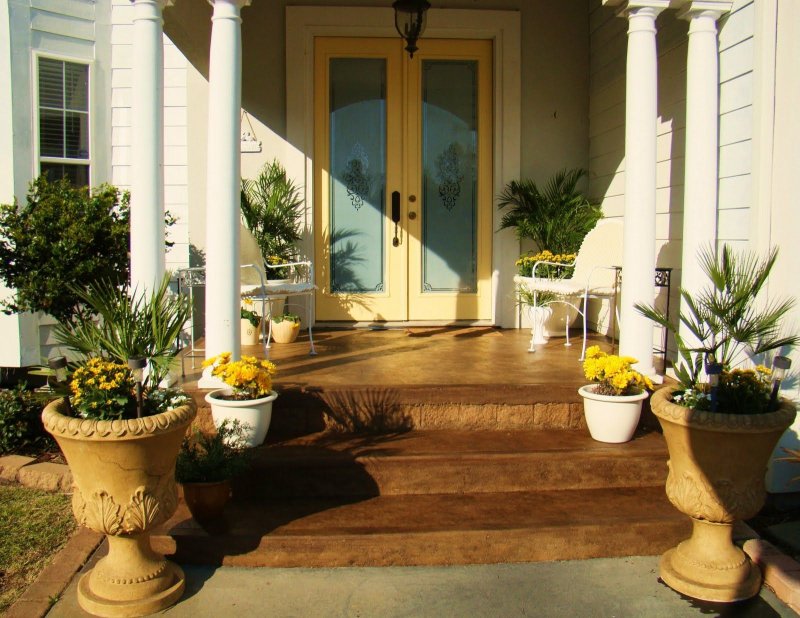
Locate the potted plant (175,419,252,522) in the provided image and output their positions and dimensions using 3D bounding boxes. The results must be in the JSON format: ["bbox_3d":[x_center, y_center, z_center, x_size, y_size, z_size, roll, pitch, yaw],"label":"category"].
[{"bbox_3d":[-0.966,0.833,3.270,0.473,0.615,0.434,1,-4,3],"label":"potted plant"}]

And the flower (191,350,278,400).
[{"bbox_3d":[-0.961,0.385,3.621,0.337,0.252,0.338,0,15,-27],"label":"flower"}]

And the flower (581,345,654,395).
[{"bbox_3d":[1.342,0.394,3.746,0.280,0.202,0.279,-1,24,10],"label":"flower"}]

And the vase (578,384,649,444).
[{"bbox_3d":[1.371,0.667,3.864,0.400,0.330,0.442,0,5,10],"label":"vase"}]

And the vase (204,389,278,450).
[{"bbox_3d":[-0.939,0.616,3.540,0.334,0.266,0.349,4,7,34],"label":"vase"}]

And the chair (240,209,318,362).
[{"bbox_3d":[-1.136,-0.198,5.724,0.726,1.107,0.798,-1,-3,5],"label":"chair"}]

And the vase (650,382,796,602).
[{"bbox_3d":[1.465,0.896,3.127,0.753,1.070,0.815,1,3,3],"label":"vase"}]

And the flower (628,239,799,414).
[{"bbox_3d":[1.780,0.019,3.356,0.904,1.083,1.019,-1,-5,16],"label":"flower"}]

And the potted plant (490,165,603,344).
[{"bbox_3d":[1.618,-0.748,6.551,1.259,1.607,1.286,0,1,0],"label":"potted plant"}]
